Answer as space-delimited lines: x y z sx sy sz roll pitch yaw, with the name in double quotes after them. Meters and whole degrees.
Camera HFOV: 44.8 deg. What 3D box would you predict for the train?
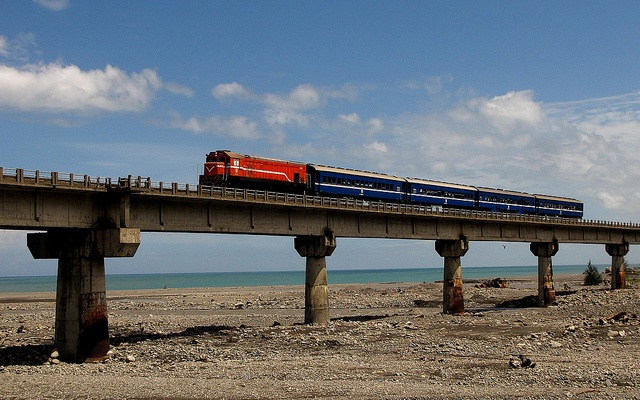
8.624 -1.001 94.442 48.272 4.710 4.032 8 -12 22 "train"
